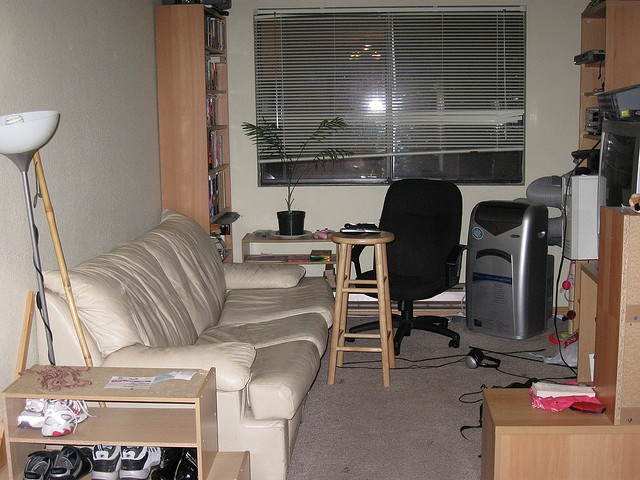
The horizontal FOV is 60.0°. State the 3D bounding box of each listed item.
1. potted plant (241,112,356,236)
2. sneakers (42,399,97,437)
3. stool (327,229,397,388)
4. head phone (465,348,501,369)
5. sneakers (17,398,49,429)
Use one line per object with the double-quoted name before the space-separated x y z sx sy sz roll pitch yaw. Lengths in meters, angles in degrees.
"potted plant" -0.187 -0.637 5.400 1.282 1.224 1.000 0 -1 -5
"sneakers" -1.056 0.729 2.319 0.090 0.093 0.208 1 8 6
"stool" 0.303 0.421 3.912 0.452 1.044 0.873 1 14 7
"head phone" 1.148 0.847 3.913 0.199 0.089 0.159 6 4 18
"sneakers" -1.191 0.719 2.311 0.075 0.088 0.202 3 -7 -10
